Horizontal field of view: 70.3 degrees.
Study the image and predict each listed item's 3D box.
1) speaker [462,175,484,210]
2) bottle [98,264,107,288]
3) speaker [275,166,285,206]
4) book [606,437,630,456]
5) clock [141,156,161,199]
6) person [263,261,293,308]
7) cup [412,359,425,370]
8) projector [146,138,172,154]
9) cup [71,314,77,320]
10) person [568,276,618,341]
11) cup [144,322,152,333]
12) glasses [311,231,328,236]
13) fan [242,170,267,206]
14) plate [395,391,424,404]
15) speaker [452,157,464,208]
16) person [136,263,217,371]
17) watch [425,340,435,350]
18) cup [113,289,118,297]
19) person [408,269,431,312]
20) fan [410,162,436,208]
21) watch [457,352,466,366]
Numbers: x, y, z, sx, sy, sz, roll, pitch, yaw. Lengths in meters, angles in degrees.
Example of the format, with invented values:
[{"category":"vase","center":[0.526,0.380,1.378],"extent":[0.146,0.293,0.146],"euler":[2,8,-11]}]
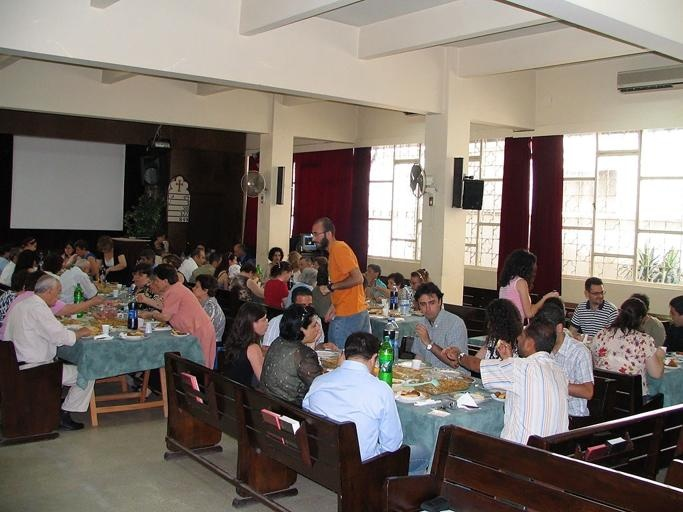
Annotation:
[{"category":"speaker","center":[2.090,-1.018,7.762],"extent":[0.315,0.536,0.266],"euler":[0,5,12]},{"category":"bottle","center":[-4.383,0.373,8.877],"extent":[0.136,0.176,0.434],"euler":[-7,28,-20]},{"category":"speaker","center":[-1.260,-1.446,9.996],"extent":[0.202,0.767,0.129],"euler":[-2,5,-8]},{"category":"book","center":[1.640,1.129,2.882],"extent":[0.114,0.116,0.046],"euler":[-8,15,-22]},{"category":"clock","center":[-4.894,-2.024,12.459],"extent":[0.428,1.032,0.835],"euler":[-3,5,-20]},{"category":"person","center":[-0.862,0.396,6.651],"extent":[0.325,0.875,0.288],"euler":[18,20,40]},{"category":"cup","center":[0.633,0.911,4.065],"extent":[0.063,0.068,0.080],"euler":[1,-5,23]},{"category":"projector","center":[-4.412,-2.683,11.731],"extent":[0.443,0.217,0.634],"euler":[-3,6,-28]},{"category":"cup","center":[-3.055,0.693,5.530],"extent":[0.052,0.055,0.054],"euler":[1,-1,0]},{"category":"person","center":[3.104,0.628,5.933],"extent":[0.585,0.861,0.517],"euler":[2,5,25]},{"category":"cup","center":[-1.946,0.729,4.928],"extent":[0.085,0.104,0.086],"euler":[-1,-4,0]},{"category":"glasses","center":[-0.225,-0.231,4.942],"extent":[0.175,0.043,0.037],"euler":[2,6,32]},{"category":"fan","center":[-1.779,-1.456,9.989],"extent":[0.477,0.571,0.347],"euler":[-3,5,-22]},{"category":"plate","center":[0.460,0.956,3.267],"extent":[0.108,0.035,0.107],"euler":[0,4,-32]},{"category":"speaker","center":[1.861,-1.176,7.745],"extent":[0.195,0.793,0.098],"euler":[-1,5,3]},{"category":"person","center":[-1.781,0.789,5.321],"extent":[0.707,1.373,0.553],"euler":[3,11,-1]},{"category":"watch","center":[0.763,0.771,4.182],"extent":[0.045,0.071,0.068],"euler":[33,-11,15]},{"category":"cup","center":[-3.407,0.563,7.306],"extent":[0.080,0.118,0.114],"euler":[-2,6,-33]},{"category":"person","center":[1.078,0.550,6.887],"extent":[0.295,0.795,0.214],"euler":[-17,26,-38]},{"category":"fan","center":[1.310,-1.145,7.816],"extent":[0.376,0.660,0.266],"euler":[-4,5,-25]},{"category":"watch","center":[0.964,0.827,3.929],"extent":[0.040,0.095,0.110],"euler":[3,15,-1]}]
